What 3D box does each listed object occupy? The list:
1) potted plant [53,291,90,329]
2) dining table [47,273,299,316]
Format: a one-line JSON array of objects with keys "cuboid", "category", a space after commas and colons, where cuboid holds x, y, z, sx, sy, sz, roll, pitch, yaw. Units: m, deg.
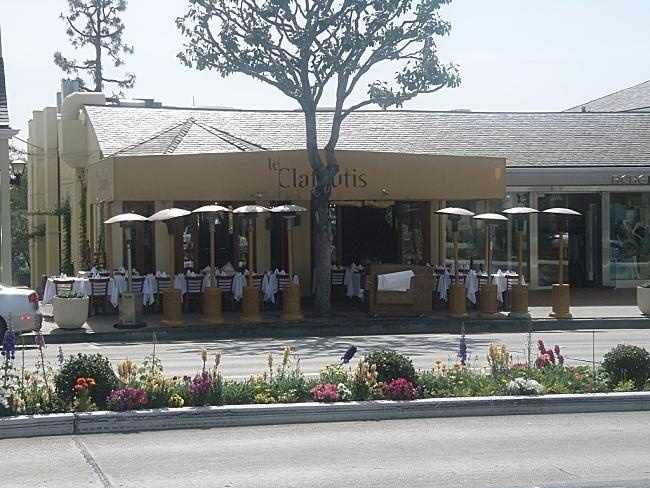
[{"cuboid": [-7.670, 1.881, 46.843, 1.048, 0.931, 1.072, -6, -11, -34], "category": "potted plant"}, {"cuboid": [-5.031, 1.205, 50.036, 5.098, 1.244, 2.977, 0, 0, -18], "category": "dining table"}]
